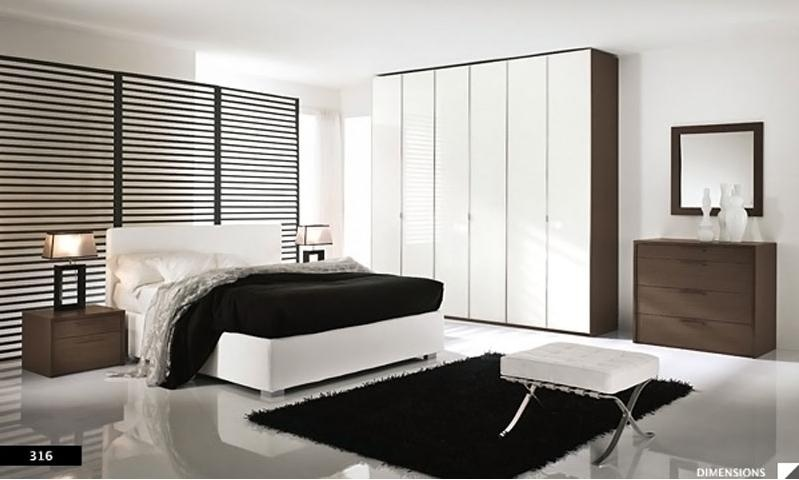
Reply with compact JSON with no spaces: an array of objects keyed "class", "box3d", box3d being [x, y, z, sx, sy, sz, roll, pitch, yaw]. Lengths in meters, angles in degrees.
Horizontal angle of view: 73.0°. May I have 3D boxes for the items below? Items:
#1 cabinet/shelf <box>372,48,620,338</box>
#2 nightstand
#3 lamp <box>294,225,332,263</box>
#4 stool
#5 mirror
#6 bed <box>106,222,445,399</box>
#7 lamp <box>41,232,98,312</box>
[{"class":"cabinet/shelf","box3d":[1.450,-0.634,7.300,3.955,3.723,1.250,0,-2,31]},{"class":"nightstand","box3d":[-3.591,1.086,5.857,0.647,0.584,0.843,-1,-2,27]},{"class":"lamp","box3d":[-1.258,0.081,7.916,0.475,0.635,0.459,-1,13,-13]},{"class":"stool","box3d":[1.481,1.301,4.496,1.088,0.637,0.949,-3,-3,42]},{"class":"mirror","box3d":[3.972,-0.868,6.757,0.992,1.078,0.039,0,0,10]},{"class":"bed","box3d":[-1.567,0.900,6.013,2.549,1.254,2.280,1,1,40]},{"class":"lamp","box3d":[-3.592,0.310,5.856,0.429,0.809,0.438,7,13,33]}]
